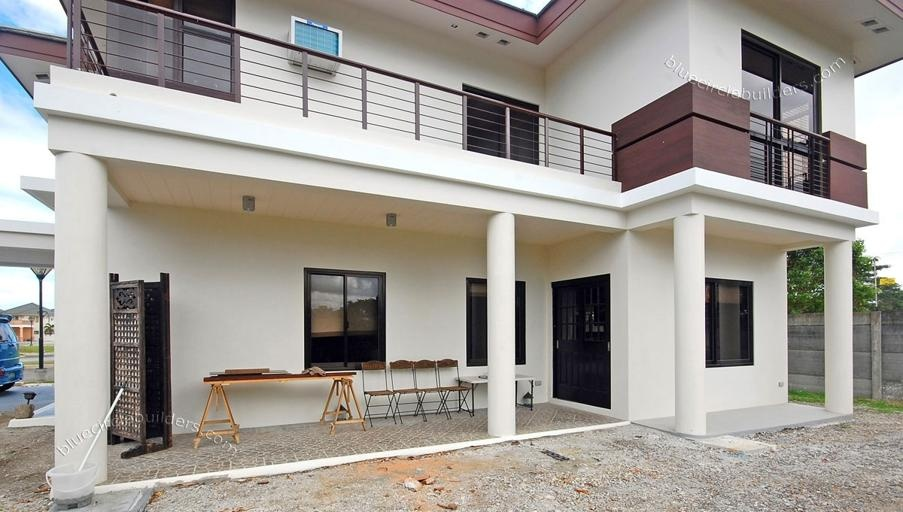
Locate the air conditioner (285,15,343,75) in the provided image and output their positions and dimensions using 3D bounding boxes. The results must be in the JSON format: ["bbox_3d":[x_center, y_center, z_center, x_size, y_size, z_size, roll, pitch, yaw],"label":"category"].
[{"bbox_3d":[-2.942,-4.622,12.688,1.186,1.172,1.189,-2,12,-12],"label":"air conditioner"}]

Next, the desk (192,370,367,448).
[{"bbox_3d":[-3.747,3.075,12.524,3.335,1.516,1.292,-3,13,-17],"label":"desk"}]

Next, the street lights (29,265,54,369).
[{"bbox_3d":[-13.021,2.073,18.657,0.988,3.460,0.959,3,2,38],"label":"street lights"}]
